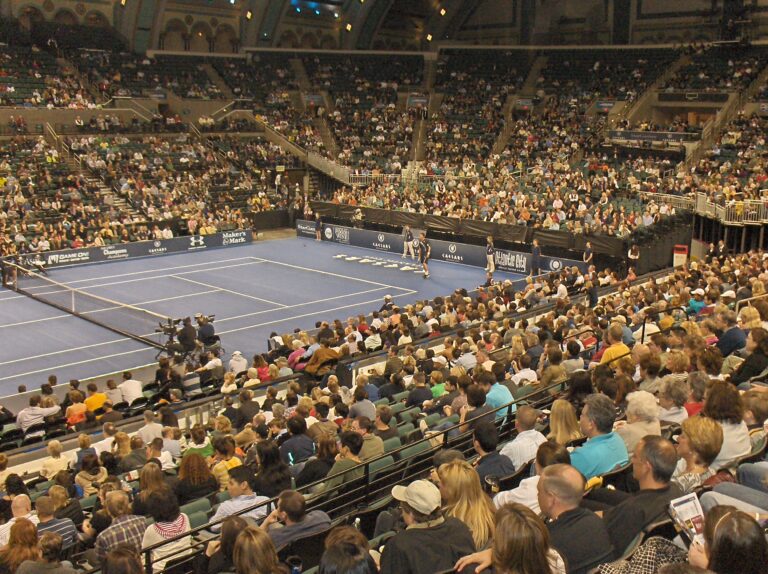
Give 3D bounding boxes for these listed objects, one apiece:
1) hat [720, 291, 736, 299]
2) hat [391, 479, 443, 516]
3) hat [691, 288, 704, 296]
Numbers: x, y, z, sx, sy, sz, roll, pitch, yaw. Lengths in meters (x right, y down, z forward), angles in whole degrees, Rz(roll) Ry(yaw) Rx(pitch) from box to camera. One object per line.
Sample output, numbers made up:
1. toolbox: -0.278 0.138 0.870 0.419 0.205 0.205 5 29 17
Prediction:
1. hat: 8.277 0.174 15.114 0.223 0.141 0.495 7 17 26
2. hat: 0.300 1.930 5.931 0.488 0.255 0.322 8 17 28
3. hat: 8.276 0.126 16.561 0.226 0.145 0.352 5 1 0
